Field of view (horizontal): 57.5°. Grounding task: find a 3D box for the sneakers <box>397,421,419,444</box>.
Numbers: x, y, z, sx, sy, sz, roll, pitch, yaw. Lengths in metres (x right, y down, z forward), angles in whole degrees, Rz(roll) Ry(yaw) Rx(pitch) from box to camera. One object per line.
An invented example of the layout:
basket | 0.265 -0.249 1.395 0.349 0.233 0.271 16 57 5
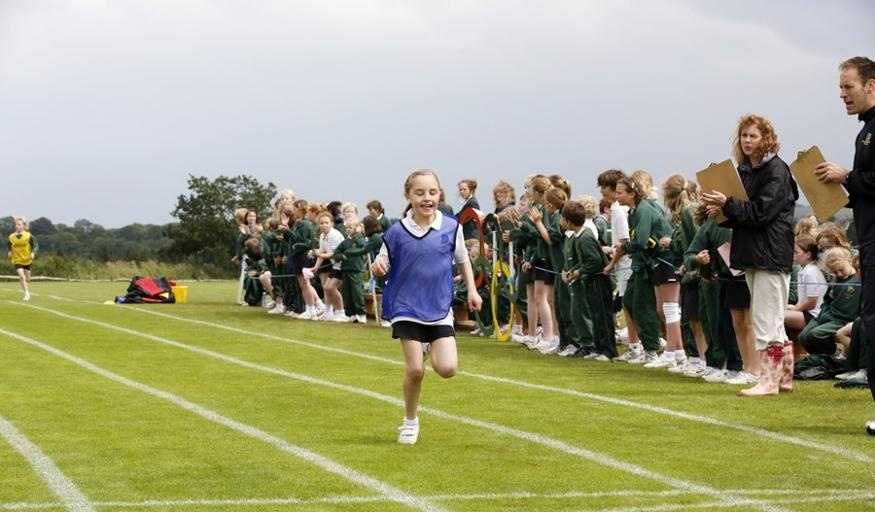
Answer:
sneakers | -0.319 1.909 8.759 0.234 0.228 0.299 0 4 -1

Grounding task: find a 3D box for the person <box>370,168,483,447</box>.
person | -0.191 0.538 8.855 0.946 2.949 0.629 1 4 3
